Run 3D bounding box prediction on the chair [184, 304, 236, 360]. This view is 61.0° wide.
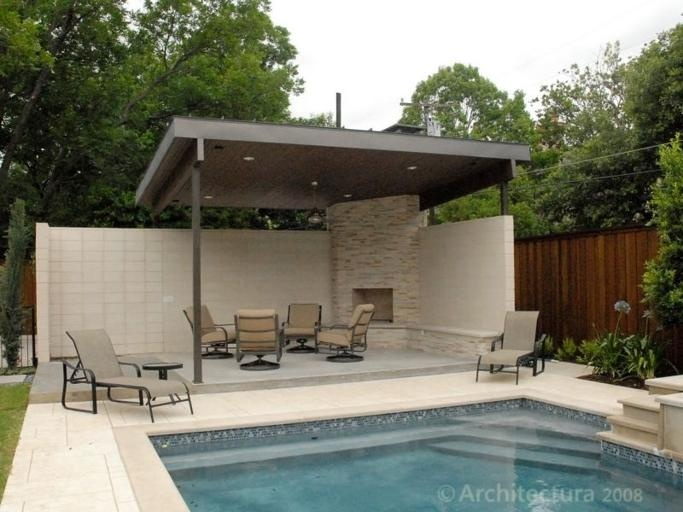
[{"bbox_3d":[-2.877,1.670,12.735,0.954,1.327,1.771,-2,9,-14],"label":"chair"}]

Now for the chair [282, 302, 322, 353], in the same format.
[{"bbox_3d":[-1.163,1.618,13.565,0.894,1.144,1.112,0,-7,3],"label":"chair"}]

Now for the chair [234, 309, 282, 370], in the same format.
[{"bbox_3d":[-1.532,1.514,10.776,0.844,1.198,0.883,0,9,-5],"label":"chair"}]

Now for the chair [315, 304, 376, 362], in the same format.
[{"bbox_3d":[0.090,1.543,11.732,1.195,0.978,0.781,-7,-6,15],"label":"chair"}]

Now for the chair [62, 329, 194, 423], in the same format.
[{"bbox_3d":[-3.089,1.689,8.337,1.829,1.020,0.864,-1,-4,30],"label":"chair"}]

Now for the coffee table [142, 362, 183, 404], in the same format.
[{"bbox_3d":[-2.684,1.910,8.697,0.670,0.606,0.647,2,0,-34],"label":"coffee table"}]

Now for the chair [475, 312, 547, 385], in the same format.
[{"bbox_3d":[3.008,1.566,10.211,0.876,1.041,1.336,3,7,37],"label":"chair"}]
